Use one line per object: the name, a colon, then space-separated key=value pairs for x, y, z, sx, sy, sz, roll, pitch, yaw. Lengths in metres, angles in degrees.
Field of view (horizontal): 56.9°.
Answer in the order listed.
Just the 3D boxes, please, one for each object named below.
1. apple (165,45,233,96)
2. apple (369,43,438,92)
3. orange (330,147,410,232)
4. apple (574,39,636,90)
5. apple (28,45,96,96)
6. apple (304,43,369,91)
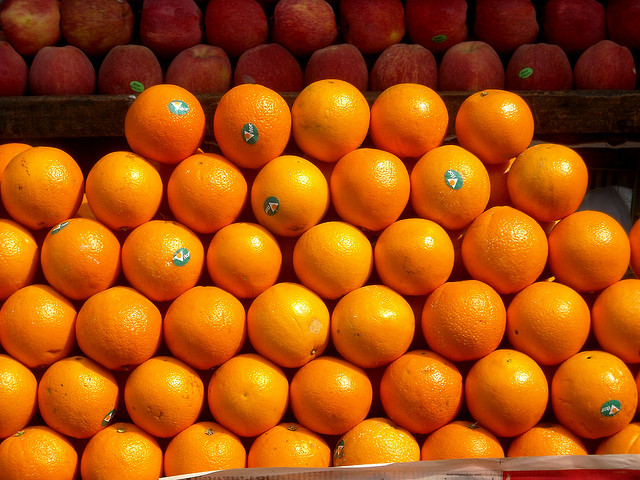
apple: x=-0.585 y=-0.810 z=2.852 sx=0.266 sy=0.281 sz=0.272 roll=-17 pitch=49 yaw=-28
apple: x=0.408 y=-0.877 z=3.036 sx=0.285 sy=0.293 sz=0.378 roll=10 pitch=106 yaw=22
orange: x=0.191 y=-0.211 z=2.184 sx=0.286 sy=0.291 sz=0.359 roll=-5 pitch=100 yaw=-13
apple: x=1.436 y=-0.867 z=2.984 sx=0.285 sy=0.116 sz=0.256 roll=-5 pitch=84 yaw=-2
apple: x=-1.269 y=-0.784 z=2.923 sx=0.253 sy=0.265 sz=0.262 roll=2 pitch=99 yaw=5
apple: x=0.077 y=-0.778 z=2.901 sx=0.294 sy=0.306 sz=0.322 roll=-3 pitch=85 yaw=-1
